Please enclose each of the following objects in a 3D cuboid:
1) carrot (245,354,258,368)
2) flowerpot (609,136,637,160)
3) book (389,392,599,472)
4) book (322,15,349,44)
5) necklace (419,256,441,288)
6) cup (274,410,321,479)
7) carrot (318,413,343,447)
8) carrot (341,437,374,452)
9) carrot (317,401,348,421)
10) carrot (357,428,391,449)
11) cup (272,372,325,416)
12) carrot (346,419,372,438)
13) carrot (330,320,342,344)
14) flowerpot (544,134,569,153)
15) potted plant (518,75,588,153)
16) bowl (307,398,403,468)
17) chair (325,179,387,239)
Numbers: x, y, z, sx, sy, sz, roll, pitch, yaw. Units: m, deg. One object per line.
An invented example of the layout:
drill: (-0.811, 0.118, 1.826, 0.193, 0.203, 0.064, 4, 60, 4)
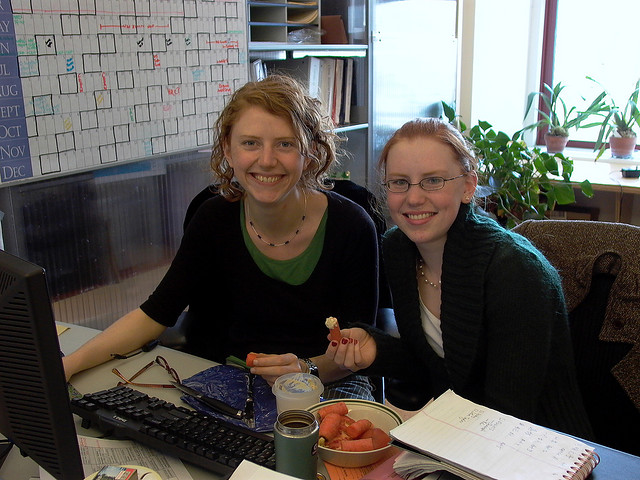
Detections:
carrot: (-0.192, 0.324, 1.290, 0.028, 0.033, 0.036, 10, -1, -22)
flowerpot: (2.538, -0.768, 4.041, 0.207, 0.170, 0.192, 3, 6, 17)
book: (0.310, 0.365, 0.862, 0.223, 0.060, 0.167, 17, 25, 40)
book: (0.084, -1.308, 2.989, 0.174, 0.173, 0.045, 6, 26, 28)
necklace: (0.321, 0.095, 1.401, 0.057, 0.071, 0.018, -27, 4, 31)
cup: (-0.044, 0.393, 0.928, 0.080, 0.140, 0.126, -1, 15, 1)
carrot: (0.021, 0.396, 1.003, 0.026, 0.023, 0.071, 1, 28, 23)
carrot: (0.077, 0.416, 0.973, 0.043, 0.023, 0.018, 0, 31, -7)
carrot: (0.027, 0.372, 1.055, 0.060, 0.021, 0.027, -18, 29, -25)
carrot: (0.122, 0.412, 1.002, 0.045, 0.019, 0.033, 3, 11, -11)
cup: (-0.055, 0.334, 1.099, 0.099, 0.068, 0.098, -1, 2, 0)
carrot: (0.080, 0.397, 1.016, 0.024, 0.018, 0.048, 13, 20, 38)
carrot: (0.039, 0.241, 1.237, 0.030, 0.060, 0.054, -1, 15, 1)
flowerpot: (2.070, -0.843, 4.183, 0.178, 0.130, 0.175, 0, 15, 2)
potted plant: (2.083, -1.048, 4.279, 0.635, 0.497, 0.612, -6, 23, -38)
bowl: (0.059, 0.412, 1.043, 0.187, 0.059, 0.187, -2, 18, 1)
chair: (0.151, -0.126, 1.833, 0.182, 0.231, 0.102, 8, -8, 30)
